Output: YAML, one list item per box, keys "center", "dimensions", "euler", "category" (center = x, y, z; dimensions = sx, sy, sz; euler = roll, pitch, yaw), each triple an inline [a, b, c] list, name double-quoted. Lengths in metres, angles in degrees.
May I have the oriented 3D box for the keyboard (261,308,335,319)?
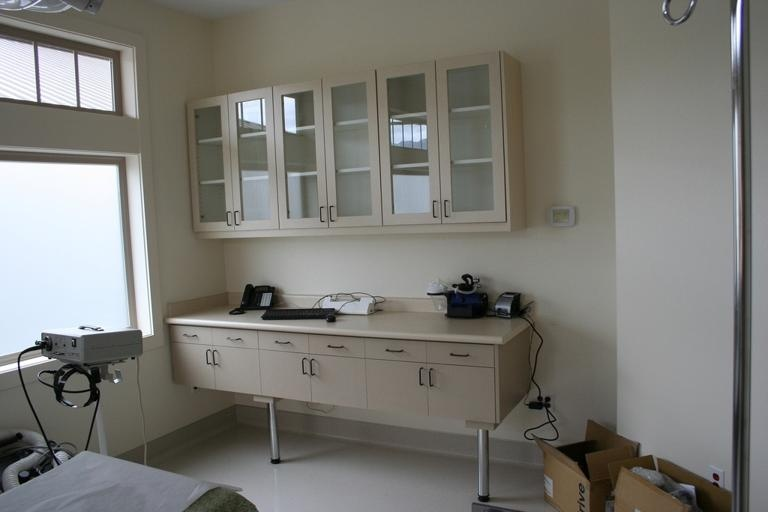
- center: [-0.644, 0.430, 4.219]
  dimensions: [0.575, 0.063, 0.246]
  euler: [-1, 13, 7]
  category: "keyboard"

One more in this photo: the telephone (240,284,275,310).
- center: [-1.061, 0.325, 4.630]
  dimensions: [0.287, 0.181, 0.228]
  euler: [-3, 13, -1]
  category: "telephone"

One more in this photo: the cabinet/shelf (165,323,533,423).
- center: [-0.333, 0.776, 3.994]
  dimensions: [2.528, 0.565, 0.386]
  euler: [1, 14, 18]
  category: "cabinet/shelf"

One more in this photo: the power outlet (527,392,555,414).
- center: [1.135, 1.049, 3.979]
  dimensions: [0.148, 0.055, 0.108]
  euler: [-2, 5, 5]
  category: "power outlet"

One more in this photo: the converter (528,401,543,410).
- center: [1.093, 1.071, 3.953]
  dimensions: [0.086, 0.051, 0.020]
  euler: [-2, 32, 6]
  category: "converter"
